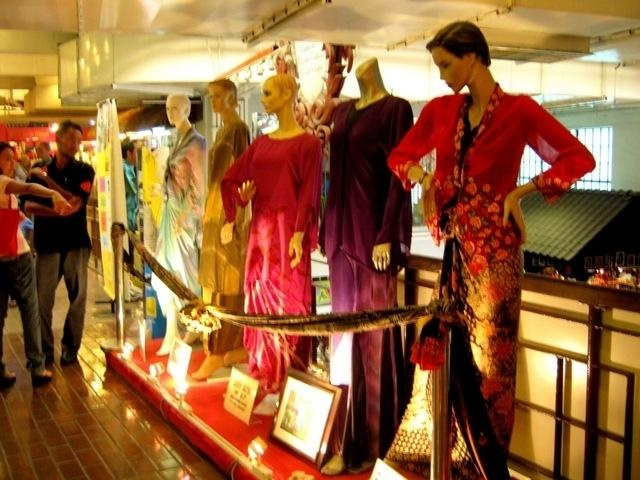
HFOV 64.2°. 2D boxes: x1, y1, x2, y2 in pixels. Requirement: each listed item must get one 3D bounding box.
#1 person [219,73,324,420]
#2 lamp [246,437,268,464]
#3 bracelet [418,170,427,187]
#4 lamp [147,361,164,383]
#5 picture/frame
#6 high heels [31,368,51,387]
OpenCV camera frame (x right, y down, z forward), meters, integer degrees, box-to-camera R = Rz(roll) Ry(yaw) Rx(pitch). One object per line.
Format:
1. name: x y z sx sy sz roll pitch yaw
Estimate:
1. person: -0.250 0.050 2.883 0.313 1.898 0.692 -9 11 -41
2. lamp: -0.303 1.009 2.457 0.071 0.108 0.030 4 -13 44
3. bracelet: 0.367 -0.221 1.798 0.014 0.044 0.029 30 -14 -36
4. lamp: -1.120 0.899 3.507 0.092 0.139 0.125 2 -1 -36
5. picture/frame: -0.056 0.885 2.493 0.030 0.403 0.365 10 0 -38
6. high heels: -2.086 1.028 3.825 0.098 0.082 0.059 -21 5 -14
